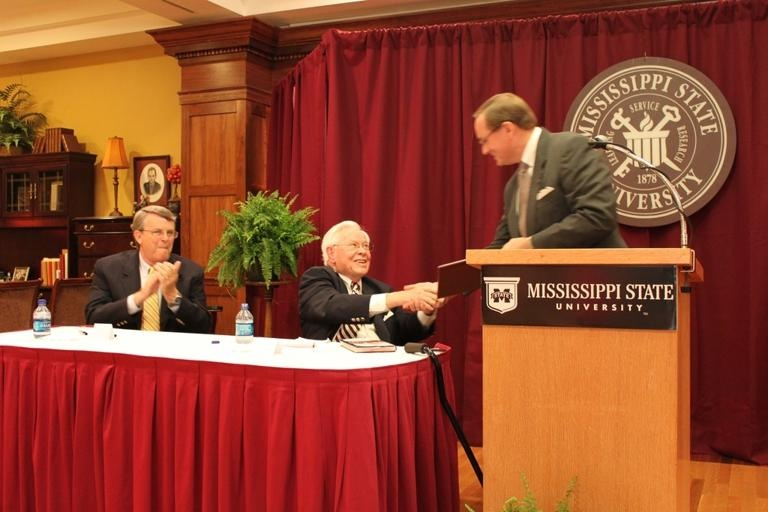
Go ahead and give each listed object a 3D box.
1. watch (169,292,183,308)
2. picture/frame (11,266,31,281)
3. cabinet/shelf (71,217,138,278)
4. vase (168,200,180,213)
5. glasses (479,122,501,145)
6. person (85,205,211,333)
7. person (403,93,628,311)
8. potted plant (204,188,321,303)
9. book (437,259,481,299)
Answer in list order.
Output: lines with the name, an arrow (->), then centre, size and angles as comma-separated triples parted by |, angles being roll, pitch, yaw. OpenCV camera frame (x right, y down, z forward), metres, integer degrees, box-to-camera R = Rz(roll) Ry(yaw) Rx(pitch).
watch -> -1.419, 0.310, 5.203 | 0.087, 0.054, 0.102 | -3, -3, -3
picture/frame -> -4.288, 0.212, 9.010 | 0.179, 0.185, 0.019 | -4, -40, -1
cabinet/shelf -> -2.627, -0.097, 7.201 | 0.619, 0.599, 0.281 | 0, -2, 20
vase -> -2.067, -0.492, 7.519 | 0.114, 0.181, 0.116 | 2, -6, -18
glasses -> 0.631, -0.738, 4.585 | 0.120, 0.111, 0.093 | -19, 12, 7
person -> -1.690, 0.439, 5.470 | 0.848, 1.533, 0.720 | 0, 1, -17
person -> 0.791, -0.264, 5.466 | 1.316, 2.374, 1.119 | -4, -7, 8
potted plant -> -1.009, -0.109, 6.439 | 0.815, 0.731, 0.939 | 0, -1, 42
book -> 0.407, 0.128, 4.123 | 0.230, 0.205, 0.521 | 0, -1, 7
